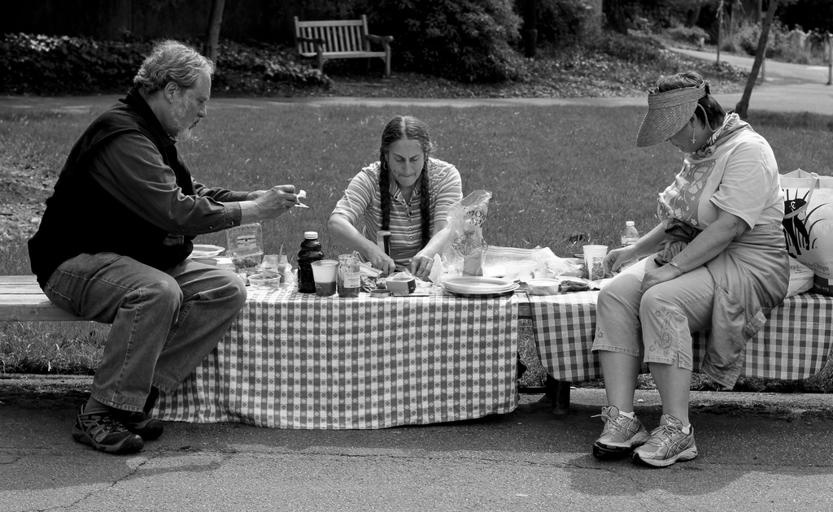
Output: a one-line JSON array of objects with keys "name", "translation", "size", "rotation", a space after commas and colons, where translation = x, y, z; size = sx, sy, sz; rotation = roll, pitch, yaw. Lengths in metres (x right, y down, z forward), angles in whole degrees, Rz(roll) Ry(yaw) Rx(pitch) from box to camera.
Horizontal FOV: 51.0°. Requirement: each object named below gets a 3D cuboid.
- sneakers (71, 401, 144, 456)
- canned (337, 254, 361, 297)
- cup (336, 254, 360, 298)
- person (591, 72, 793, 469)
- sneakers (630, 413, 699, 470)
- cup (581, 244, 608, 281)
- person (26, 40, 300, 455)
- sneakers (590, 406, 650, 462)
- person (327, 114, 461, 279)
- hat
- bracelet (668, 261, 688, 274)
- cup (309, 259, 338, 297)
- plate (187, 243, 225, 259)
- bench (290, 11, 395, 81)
[{"name": "sneakers", "translation": [-2.016, 1.122, 5.661], "size": [0.568, 0.254, 0.219], "rotation": [7, -4, 36]}, {"name": "canned", "translation": [-0.453, 0.144, 5.852], "size": [0.196, 0.286, 0.192], "rotation": [0, 3, -27]}, {"name": "cup", "translation": [-0.453, 0.142, 5.801], "size": [0.143, 0.262, 0.123], "rotation": [-3, 18, -13]}, {"name": "person", "translation": [1.713, 0.057, 5.586], "size": [0.940, 2.341, 1.284], "rotation": [17, 23, 42]}, {"name": "sneakers", "translation": [1.570, 1.179, 5.499], "size": [0.529, 0.293, 0.200], "rotation": [-4, 10, -34]}, {"name": "cup", "translation": [1.281, 0.047, 6.282], "size": [0.237, 0.297, 0.213], "rotation": [2, 3, 4]}, {"name": "person", "translation": [-1.713, -0.092, 5.719], "size": [1.475, 2.495, 0.933], "rotation": [-7, 19, -25]}, {"name": "sneakers", "translation": [1.281, 1.104, 5.556], "size": [0.213, 0.288, 0.509], "rotation": [-6, -3, 41]}, {"name": "person", "translation": [-0.135, -0.454, 6.397], "size": [0.822, 1.099, 0.779], "rotation": [9, 19, 23]}, {"name": "hat", "translation": [1.640, -0.948, 5.693], "size": [0.462, 0.199, 0.341], "rotation": [-42, 9, -5]}, {"name": "bracelet", "translation": [1.672, 0.082, 5.600], "size": [0.084, 0.040, 0.064], "rotation": [33, 26, 14]}, {"name": "cup", "translation": [-0.588, 0.151, 5.809], "size": [0.213, 0.224, 0.215], "rotation": [0, -1, 0]}, {"name": "plate", "translation": [-1.566, -0.021, 6.423], "size": [0.194, 0.059, 0.111], "rotation": [-5, 18, 12]}, {"name": "bench", "translation": [-0.841, -2.392, 10.025], "size": [1.031, 0.660, 0.584], "rotation": [-13, 22, -38]}]
